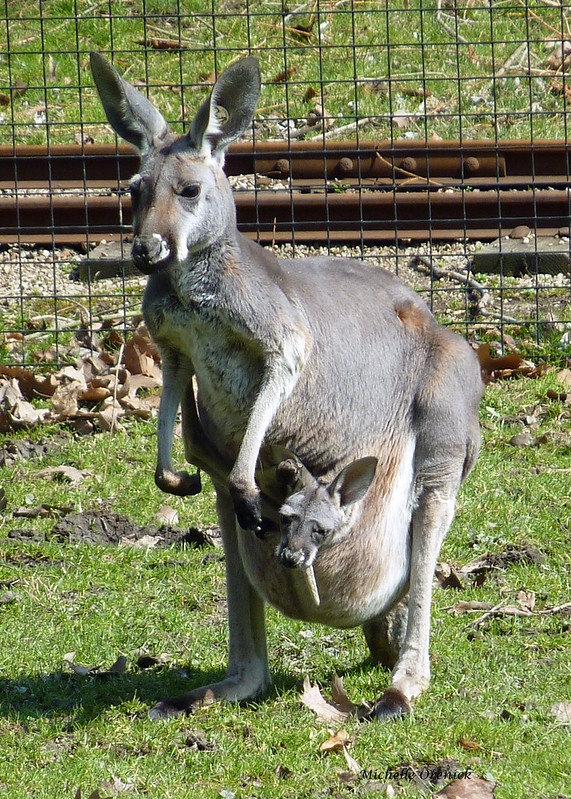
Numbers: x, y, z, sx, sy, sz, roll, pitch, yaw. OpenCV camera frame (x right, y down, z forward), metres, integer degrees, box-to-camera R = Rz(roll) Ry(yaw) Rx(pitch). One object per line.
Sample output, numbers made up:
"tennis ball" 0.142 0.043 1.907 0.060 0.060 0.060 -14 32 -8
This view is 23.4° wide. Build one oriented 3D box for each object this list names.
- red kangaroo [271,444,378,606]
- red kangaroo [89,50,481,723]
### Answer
"red kangaroo" 0.088 0.347 4.296 0.345 0.238 0.639 13 34 3
"red kangaroo" 0.028 -0.015 4.406 1.209 2.120 0.766 -3 14 -8
